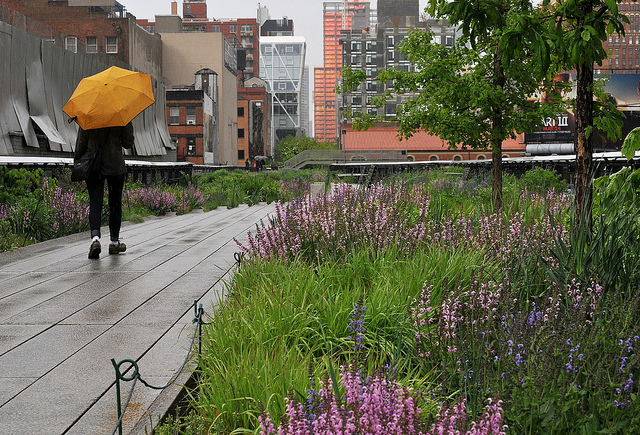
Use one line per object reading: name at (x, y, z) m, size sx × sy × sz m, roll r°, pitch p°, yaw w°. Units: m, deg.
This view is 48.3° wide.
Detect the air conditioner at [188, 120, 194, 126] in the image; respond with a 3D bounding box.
air conditioner at (-12.896, -9.436, 70.937) m, size 0.571 × 0.544 × 0.190 m, roll -1°, pitch 8°, yaw 0°

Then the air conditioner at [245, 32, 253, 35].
air conditioner at (-15.627, -40.368, 155.897) m, size 1.514 × 0.456 × 0.397 m, roll -3°, pitch 10°, yaw -6°

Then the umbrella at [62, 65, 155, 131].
umbrella at (-3.296, -1.896, 11.117) m, size 1.147 × 0.949 × 1.621 m, roll -1°, pitch 10°, yaw 3°

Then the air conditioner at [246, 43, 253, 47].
air conditioner at (-15.614, -37.933, 156.342) m, size 1.459 × 0.862 × 0.216 m, roll 1°, pitch 9°, yaw 16°

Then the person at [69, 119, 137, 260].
person at (-3.251, -0.348, 10.520) m, size 0.712 × 1.936 × 0.590 m, roll -4°, pitch 9°, yaw -17°

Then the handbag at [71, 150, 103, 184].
handbag at (-3.463, -0.741, 10.380) m, size 0.319 × 0.525 × 0.256 m, roll -11°, pitch -30°, yaw 18°
